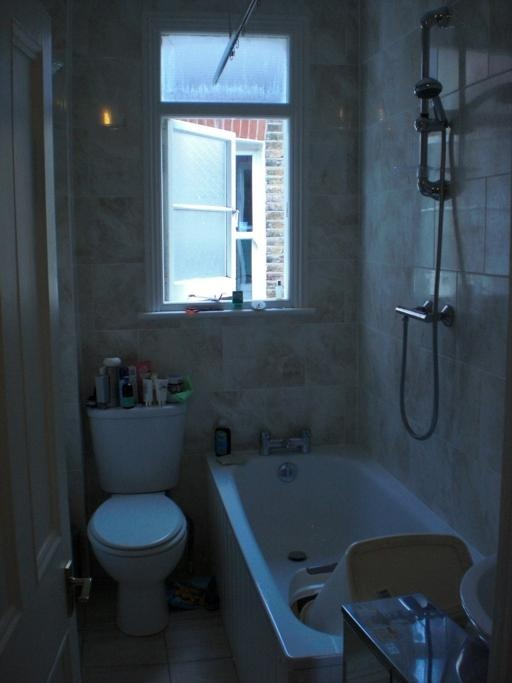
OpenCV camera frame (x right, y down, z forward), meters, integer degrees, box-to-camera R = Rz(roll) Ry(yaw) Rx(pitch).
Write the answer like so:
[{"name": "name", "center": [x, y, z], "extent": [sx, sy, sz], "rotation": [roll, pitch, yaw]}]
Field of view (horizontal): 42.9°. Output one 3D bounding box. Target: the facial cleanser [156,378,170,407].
[{"name": "facial cleanser", "center": [-0.416, 0.221, 2.889], "extent": [0.073, 0.122, 0.053], "rotation": [-8, 9, -34]}]

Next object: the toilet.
[{"name": "toilet", "center": [-0.485, 0.736, 2.728], "extent": [0.312, 0.839, 0.670], "rotation": [-2, 12, -10]}]
